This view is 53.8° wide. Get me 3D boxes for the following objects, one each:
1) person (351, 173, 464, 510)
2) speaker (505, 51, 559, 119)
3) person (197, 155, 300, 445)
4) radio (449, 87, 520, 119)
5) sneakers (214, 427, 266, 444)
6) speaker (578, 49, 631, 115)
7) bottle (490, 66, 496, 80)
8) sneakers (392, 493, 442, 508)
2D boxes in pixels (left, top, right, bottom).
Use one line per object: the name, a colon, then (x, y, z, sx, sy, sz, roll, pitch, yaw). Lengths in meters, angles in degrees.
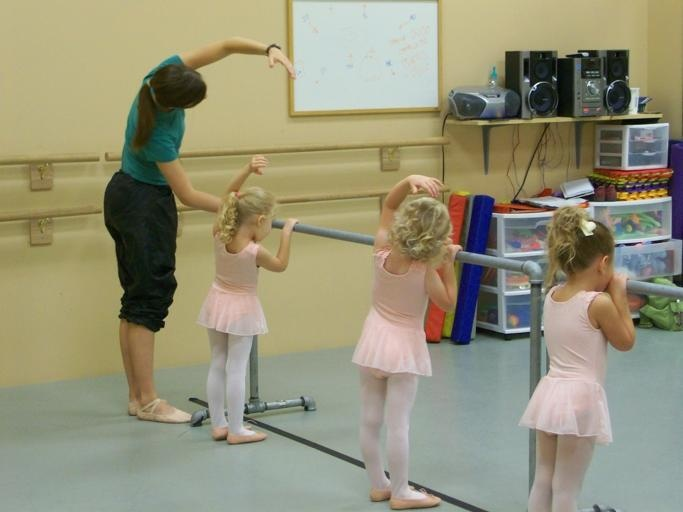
person: (0.254, 0.345, 2.657, 0.402, 1.313, 0.364, 1, 8, 9)
speaker: (1.428, -1.287, 5.081, 0.381, 0.506, 0.265, 1, 8, 12)
person: (-0.474, 0.215, 3.294, 0.424, 1.385, 0.480, -4, 9, -27)
radio: (1.051, -1.130, 4.972, 0.532, 0.247, 0.261, 2, 8, 12)
sneakers: (-0.512, 0.882, 3.304, 0.145, 0.048, 0.112, -1, 0, -13)
speaker: (2.099, -1.361, 5.283, 0.471, 0.507, 0.165, -3, 8, -18)
bottle: (1.161, -1.397, 5.144, 0.052, 0.133, 0.179, 1, 8, 11)
sneakers: (0.298, 0.942, 2.681, 0.197, 0.066, 0.071, -2, 0, -16)
